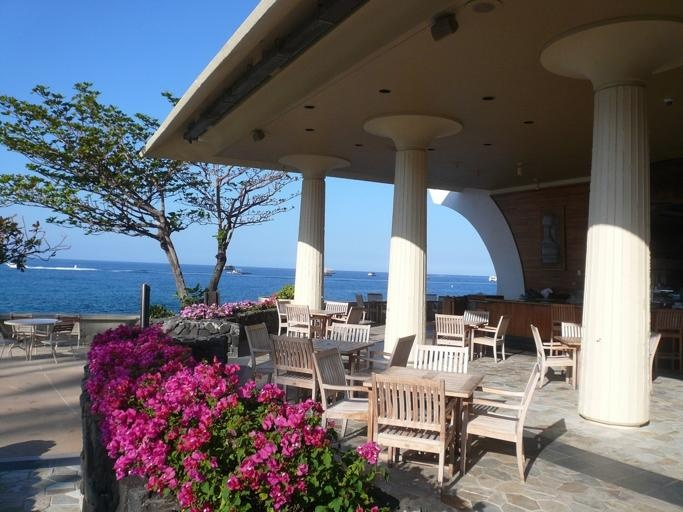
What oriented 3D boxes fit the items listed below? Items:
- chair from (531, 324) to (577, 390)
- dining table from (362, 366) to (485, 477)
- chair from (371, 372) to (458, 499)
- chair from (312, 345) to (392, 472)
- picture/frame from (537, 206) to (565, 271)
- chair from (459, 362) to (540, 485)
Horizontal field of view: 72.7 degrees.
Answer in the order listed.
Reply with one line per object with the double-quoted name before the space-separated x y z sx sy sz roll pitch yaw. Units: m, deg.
"chair" 3.686 1.694 8.087 0.816 0.899 0.782 -4 -7 31
"dining table" 0.988 1.469 4.875 1.120 0.644 1.140 0 2 40
"chair" 0.710 1.607 4.510 0.706 0.980 0.621 1 -3 19
"chair" 0.147 1.663 5.522 1.113 1.513 1.076 -3 -2 18
"picture/frame" 6.848 -0.631 15.062 0.451 1.953 0.800 0 -1 -16
"chair" 1.599 1.633 4.718 0.827 0.954 0.758 1 -4 9
